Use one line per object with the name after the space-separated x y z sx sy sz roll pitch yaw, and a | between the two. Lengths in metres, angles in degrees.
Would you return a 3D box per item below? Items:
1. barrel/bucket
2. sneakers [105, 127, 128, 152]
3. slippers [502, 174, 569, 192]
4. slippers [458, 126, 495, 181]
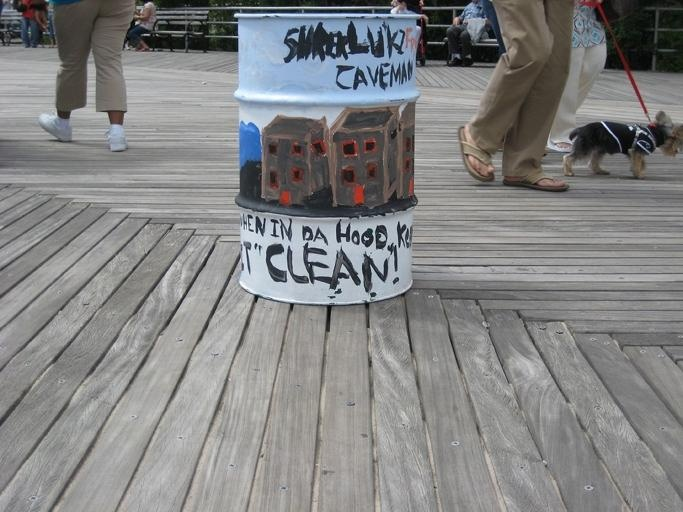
-0.042 -0.414 2.675 0.823 1.200 0.530 -2 23 -11 | barrel/bucket
-2.104 -1.088 5.741 0.111 0.166 0.359 -1 17 -5 | sneakers
1.485 -0.542 4.702 0.417 0.117 0.181 6 26 23 | slippers
1.020 -0.736 4.756 0.173 0.514 0.126 -21 -1 -10 | slippers
